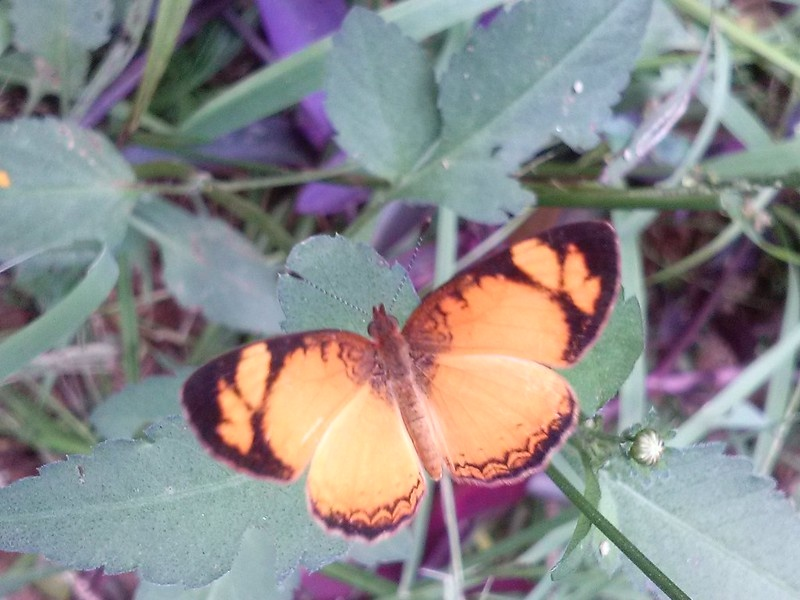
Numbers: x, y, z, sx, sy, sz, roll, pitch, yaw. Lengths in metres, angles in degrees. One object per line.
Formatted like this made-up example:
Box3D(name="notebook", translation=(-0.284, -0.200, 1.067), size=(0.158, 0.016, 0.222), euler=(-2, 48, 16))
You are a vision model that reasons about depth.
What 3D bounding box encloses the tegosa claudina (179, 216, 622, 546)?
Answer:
Box3D(name="tegosa claudina", translation=(0.016, 0.069, 0.699), size=(0.399, 0.071, 0.238), euler=(-18, 92, 3))
